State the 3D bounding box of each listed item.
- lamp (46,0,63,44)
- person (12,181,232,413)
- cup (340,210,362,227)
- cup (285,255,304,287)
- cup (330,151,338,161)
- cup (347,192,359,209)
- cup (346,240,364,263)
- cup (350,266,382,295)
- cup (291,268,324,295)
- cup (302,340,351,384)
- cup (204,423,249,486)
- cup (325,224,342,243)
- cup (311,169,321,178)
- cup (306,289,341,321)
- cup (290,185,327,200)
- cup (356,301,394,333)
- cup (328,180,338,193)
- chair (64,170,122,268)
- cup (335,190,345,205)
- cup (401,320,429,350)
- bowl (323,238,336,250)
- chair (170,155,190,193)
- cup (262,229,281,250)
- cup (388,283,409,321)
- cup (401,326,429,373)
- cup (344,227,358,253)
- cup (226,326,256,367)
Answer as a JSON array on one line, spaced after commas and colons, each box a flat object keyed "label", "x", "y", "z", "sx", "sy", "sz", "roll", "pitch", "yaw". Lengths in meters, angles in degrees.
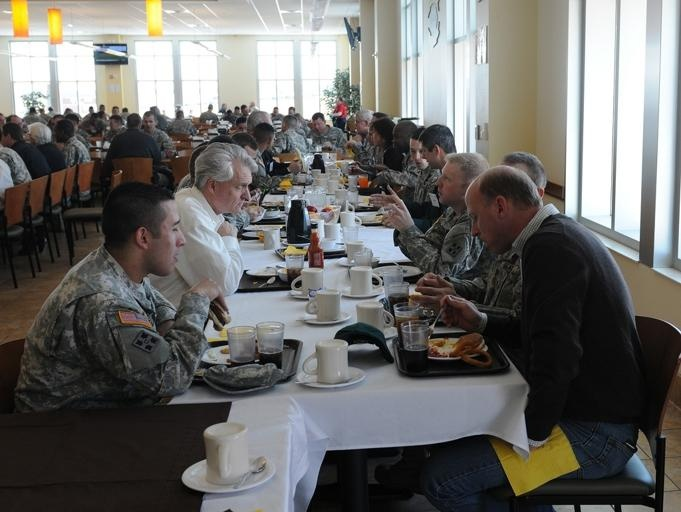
[{"label": "lamp", "x": -4.587, "y": -3.728, "z": 8.121, "sx": 0.188, "sy": 0.571, "sz": 0.500, "roll": -9, "pitch": 14, "yaw": -28}, {"label": "person", "x": -0.605, "y": 0.028, "z": 1.670, "sx": 0.608, "sy": 1.006, "sz": 0.565, "roll": -4, "pitch": 16, "yaw": -18}, {"label": "cup", "x": 0.049, "y": -0.237, "z": 3.188, "sx": 0.137, "sy": 0.105, "sz": 0.089, "roll": 6, "pitch": 11, "yaw": 34}, {"label": "cup", "x": -0.204, "y": 0.059, "z": 2.197, "sx": 0.074, "sy": 0.124, "sz": 0.117, "roll": -1, "pitch": 4, "yaw": -38}, {"label": "cup", "x": -0.130, "y": -1.536, "z": 7.718, "sx": 0.166, "sy": 0.164, "sz": 0.218, "roll": -1, "pitch": 2, "yaw": -4}, {"label": "cup", "x": 0.096, "y": -0.458, "z": 3.993, "sx": 0.082, "sy": 0.142, "sz": 0.137, "roll": -1, "pitch": 3, "yaw": -2}, {"label": "cup", "x": 0.062, "y": -0.024, "z": 2.492, "sx": 0.066, "sy": 0.106, "sz": 0.108, "roll": 1, "pitch": 4, "yaw": -2}, {"label": "cup", "x": 0.104, "y": 0.100, "z": 2.092, "sx": 0.137, "sy": 0.117, "sz": 0.089, "roll": 2, "pitch": 6, "yaw": 4}, {"label": "cup", "x": -0.121, "y": 0.100, "z": 2.085, "sx": 0.139, "sy": 0.123, "sz": 0.083, "roll": -8, "pitch": 14, "yaw": -18}, {"label": "cup", "x": -0.046, "y": 0.289, "z": 1.363, "sx": 0.124, "sy": 0.106, "sz": 0.078, "roll": -5, "pitch": 11, "yaw": -30}, {"label": "cup", "x": -0.218, "y": 0.381, "z": 0.946, "sx": 0.071, "sy": 0.100, "sz": 0.116, "roll": 0, "pitch": 4, "yaw": -12}, {"label": "cup", "x": -0.042, "y": -0.140, "z": 3.018, "sx": 0.115, "sy": 0.117, "sz": 0.070, "roll": -5, "pitch": 7, "yaw": -40}, {"label": "cup", "x": -0.258, "y": -0.860, "z": 5.273, "sx": 0.124, "sy": 0.096, "sz": 0.127, "roll": 0, "pitch": 2, "yaw": 0}, {"label": "cup", "x": -0.067, "y": 0.177, "z": 1.784, "sx": 0.137, "sy": 0.107, "sz": 0.081, "roll": -12, "pitch": 23, "yaw": -32}, {"label": "cup", "x": -0.264, "y": -0.502, "z": 4.037, "sx": 0.222, "sy": 0.167, "sz": 0.221, "roll": 1, "pitch": 1, "yaw": 0}, {"label": "cup", "x": 0.121, "y": 0.215, "z": 1.673, "sx": 0.120, "sy": 0.112, "sz": 0.079, "roll": 2, "pitch": 16, "yaw": 12}, {"label": "cup", "x": -0.080, "y": -0.679, "z": 4.898, "sx": 0.115, "sy": 0.165, "sz": 0.180, "roll": 0, "pitch": 2, "yaw": -3}, {"label": "chair", "x": -3.184, "y": -0.497, "z": 6.072, "sx": 0.607, "sy": 1.060, "sz": 0.714, "roll": 8, "pitch": -1, "yaw": 25}, {"label": "cup", "x": 0.003, "y": -0.459, "z": 3.914, "sx": 0.078, "sy": 0.082, "sz": 0.107, "roll": 1, "pitch": 1, "yaw": 25}, {"label": "cup", "x": 0.210, "y": 0.221, "z": 1.413, "sx": 0.059, "sy": 0.059, "sz": 0.077, "roll": 1, "pitch": 1, "yaw": 7}, {"label": "bowl", "x": -0.064, "y": -0.069, "z": 2.808, "sx": 0.057, "sy": 0.037, "sz": 0.059, "roll": -2, "pitch": 14, "yaw": 0}, {"label": "chair", "x": -2.411, "y": -1.298, "z": 8.068, "sx": 0.455, "sy": 0.531, "sz": 0.475, "roll": -5, "pitch": 8, "yaw": -9}, {"label": "cup", "x": -0.396, "y": -0.093, "z": 2.870, "sx": 0.087, "sy": 0.108, "sz": 0.117, "roll": 5, "pitch": 11, "yaw": 28}, {"label": "cup", "x": 0.213, "y": 0.163, "z": 1.883, "sx": 0.096, "sy": 0.132, "sz": 0.096, "roll": -2, "pitch": 5, "yaw": 0}, {"label": "cup", "x": 0.211, "y": 0.262, "z": 1.433, "sx": 0.082, "sy": 0.126, "sz": 0.084, "roll": -1, "pitch": -4, "yaw": 0}, {"label": "cup", "x": 0.048, "y": -0.095, "z": 2.745, "sx": 0.110, "sy": 0.179, "sz": 0.112, "roll": 0, "pitch": 2, "yaw": 0}, {"label": "cup", "x": -0.292, "y": 0.274, "z": 1.478, "sx": 0.089, "sy": 0.106, "sz": 0.092, "roll": -1, "pitch": 0, "yaw": 0}]
